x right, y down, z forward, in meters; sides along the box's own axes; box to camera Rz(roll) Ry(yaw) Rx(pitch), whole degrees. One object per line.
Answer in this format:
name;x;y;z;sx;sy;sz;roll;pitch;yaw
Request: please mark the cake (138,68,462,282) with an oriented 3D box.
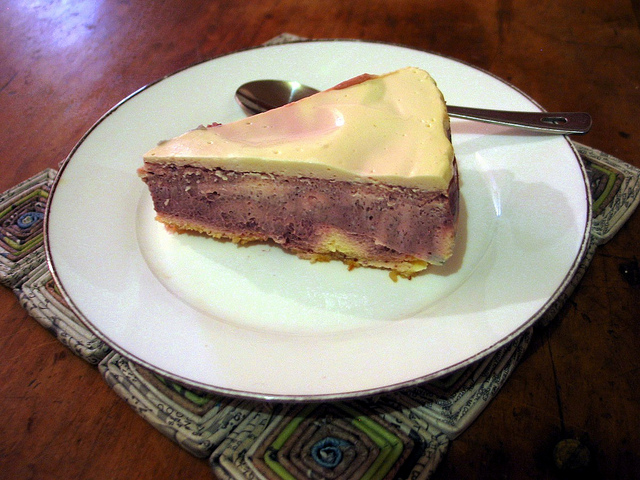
cake;-0.055;-0.113;1.832;0.803;0.328;0.641;-4;49;-2
